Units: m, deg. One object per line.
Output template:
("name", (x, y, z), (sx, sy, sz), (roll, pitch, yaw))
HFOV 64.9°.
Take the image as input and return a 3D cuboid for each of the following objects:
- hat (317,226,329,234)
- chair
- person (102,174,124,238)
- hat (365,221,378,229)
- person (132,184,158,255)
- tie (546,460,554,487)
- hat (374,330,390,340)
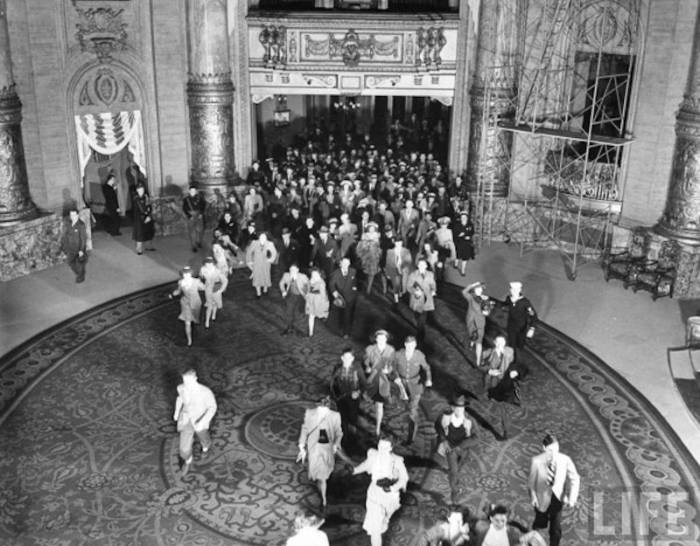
("hat", (-0.657, -1.112, 13.372), (0.273, 0.221, 0.233), (4, -5, -8))
("chair", (7.794, -0.160, 14.545), (0.550, 1.271, 1.433), (-12, 33, -23))
("person", (-7.776, -2.253, 17.914), (0.501, 1.890, 0.839), (-8, 21, -24))
("hat", (0.546, -1.267, 14.377), (0.358, 0.095, 0.362), (0, 2, -9))
("person", (-6.214, -1.625, 16.470), (0.589, 2.012, 0.835), (-7, 21, -22))
("tie", (2.335, 2.324, 6.395), (0.025, 0.304, 0.108), (-15, 25, -38))
("hat", (0.510, 1.004, 8.915), (0.234, 0.156, 0.281), (4, 9, 5))
